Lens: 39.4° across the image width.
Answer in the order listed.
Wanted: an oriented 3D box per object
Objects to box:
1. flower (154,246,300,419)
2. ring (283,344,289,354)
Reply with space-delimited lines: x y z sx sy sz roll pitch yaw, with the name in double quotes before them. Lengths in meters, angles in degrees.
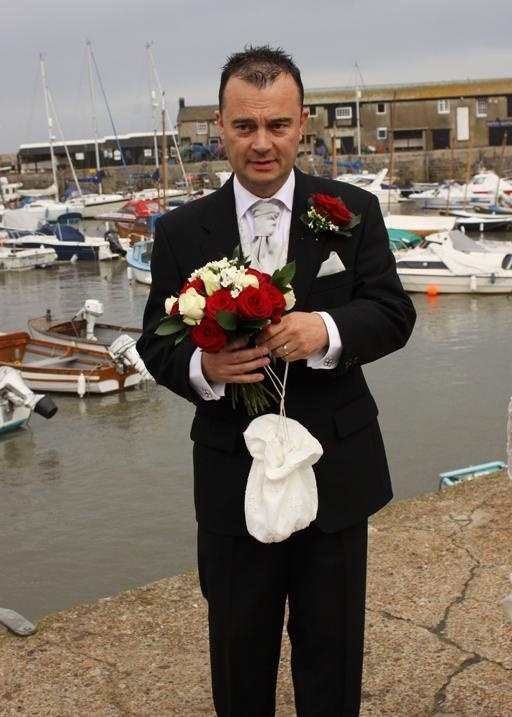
"flower" -0.081 -0.126 1.569 0.281 0.220 0.194 2 15 24
"ring" 0.065 -0.021 1.566 0.011 0.016 0.031 -4 0 -7
